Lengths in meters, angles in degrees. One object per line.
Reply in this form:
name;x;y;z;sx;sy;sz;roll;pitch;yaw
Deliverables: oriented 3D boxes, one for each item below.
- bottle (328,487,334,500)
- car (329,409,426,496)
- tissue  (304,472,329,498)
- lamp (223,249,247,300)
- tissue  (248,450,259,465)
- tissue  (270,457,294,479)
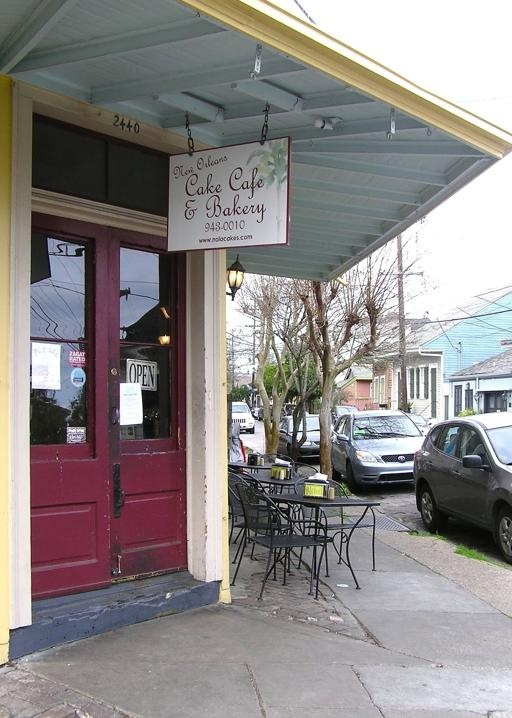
bottle;0.687;1.231;5.510;0.067;0.104;0.048;11;-9;-39
car;2.448;1.892;12.959;1.255;0.973;2.207;0;-10;-8
tissue ;0.588;1.188;5.695;0.202;0.203;0.194;-4;-9;38
lamp;-0.348;-1.263;9.378;0.348;0.673;0.312;6;-2;-14
tissue ;-0.053;1.310;7.880;0.129;0.138;0.184;0;-7;10
tissue ;0.305;1.288;7.084;0.281;0.228;0.471;0;-10;7
